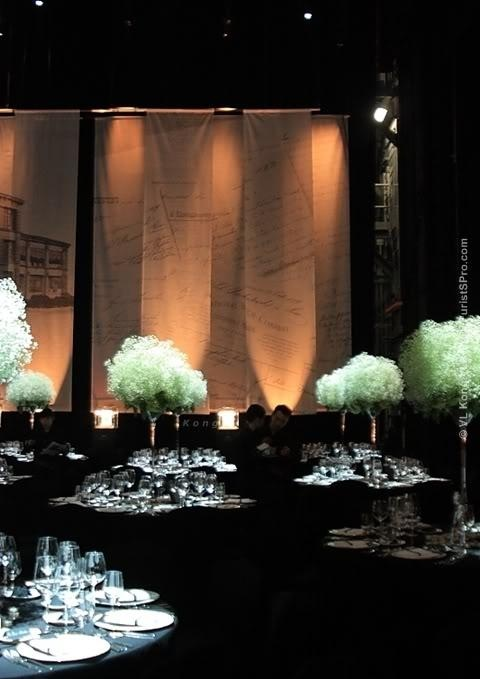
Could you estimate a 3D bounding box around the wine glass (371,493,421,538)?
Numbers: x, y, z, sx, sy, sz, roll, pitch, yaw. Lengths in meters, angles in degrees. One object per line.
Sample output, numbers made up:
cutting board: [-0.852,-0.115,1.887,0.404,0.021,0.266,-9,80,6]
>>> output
wine glass: [0.654,0.716,3.293,0.211,0.192,0.203,0,-9,-3]

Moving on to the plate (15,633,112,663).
plate: [-0.463,0.812,2.077,0.243,0.033,0.157,0,-6,3]

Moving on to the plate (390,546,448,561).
plate: [0.659,0.804,2.950,0.196,0.020,0.206,-2,-6,20]
